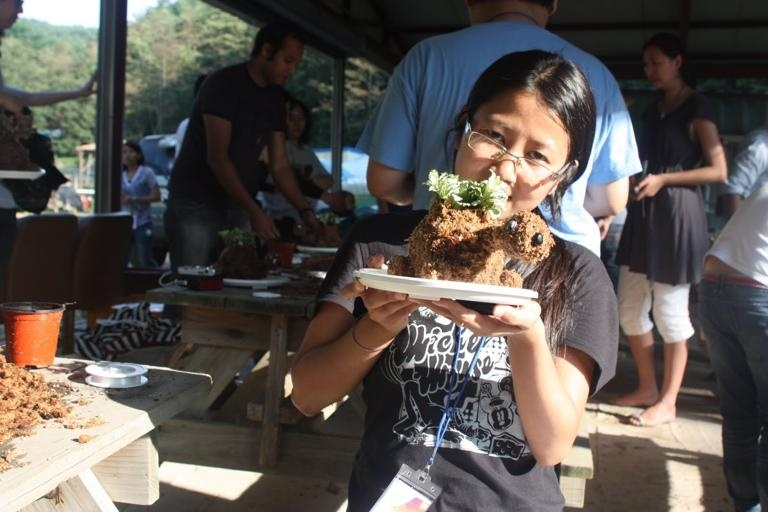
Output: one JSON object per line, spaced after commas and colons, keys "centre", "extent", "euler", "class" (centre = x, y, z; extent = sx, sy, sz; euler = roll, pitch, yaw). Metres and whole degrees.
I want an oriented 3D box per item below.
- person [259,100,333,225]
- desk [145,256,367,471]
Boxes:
{"centre": [-0.994, -0.994, 6.985], "extent": [0.824, 1.559, 0.759], "euler": [-3, 16, -32], "class": "person"}
{"centre": [-0.773, 0.675, 4.051], "extent": [1.119, 1.040, 1.074], "euler": [4, 10, 11], "class": "desk"}
